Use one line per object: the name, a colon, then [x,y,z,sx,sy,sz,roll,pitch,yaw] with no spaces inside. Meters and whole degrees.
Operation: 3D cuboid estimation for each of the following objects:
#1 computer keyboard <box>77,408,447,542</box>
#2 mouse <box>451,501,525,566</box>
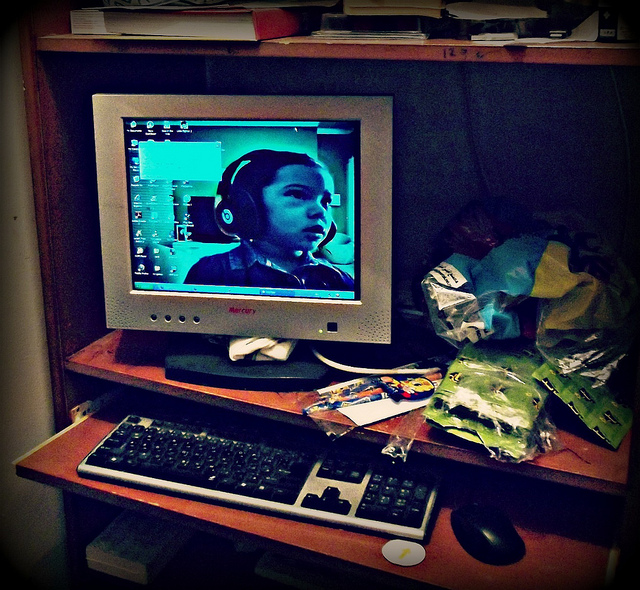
computer keyboard: [-0.104,0.284,0.984,0.589,0.064,0.180,5,24,17]
mouse: [0.240,0.345,0.859,0.082,0.052,0.084,-5,9,-20]
